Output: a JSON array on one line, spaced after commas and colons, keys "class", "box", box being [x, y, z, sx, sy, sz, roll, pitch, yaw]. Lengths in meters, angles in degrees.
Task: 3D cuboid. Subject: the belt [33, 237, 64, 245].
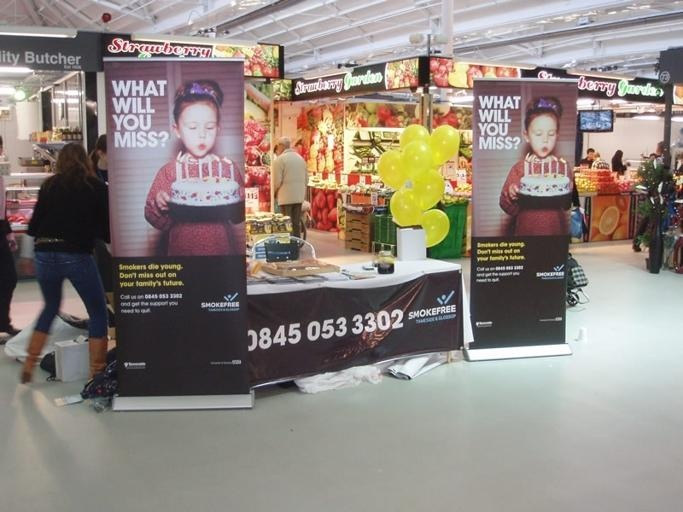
[{"class": "belt", "box": [-2.247, -0.117, 4.188, 0.248, 0.050, 0.038, 4, 11, 18]}]

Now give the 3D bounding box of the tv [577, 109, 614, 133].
[{"class": "tv", "box": [7.152, -3.815, 15.348, 0.886, 0.577, 0.967, 5, 11, 22]}]

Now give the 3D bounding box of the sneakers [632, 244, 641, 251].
[{"class": "sneakers", "box": [5.801, -0.153, 10.682, 0.187, 0.184, 0.102, -2, 2, -22]}]

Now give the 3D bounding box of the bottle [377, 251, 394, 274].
[{"class": "bottle", "box": [0.395, 0.063, 4.777, 0.139, 0.184, 0.188, 1, 0, 7]}]

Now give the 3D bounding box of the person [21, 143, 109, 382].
[{"class": "person", "box": [-2.135, 0.033, 4.342, 0.719, 1.825, 0.343, 3, 10, 14]}]

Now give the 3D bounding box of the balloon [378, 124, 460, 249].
[{"class": "balloon", "box": [0.780, -0.721, 5.668, 0.800, 1.290, 0.860, 3, 11, 12]}]
